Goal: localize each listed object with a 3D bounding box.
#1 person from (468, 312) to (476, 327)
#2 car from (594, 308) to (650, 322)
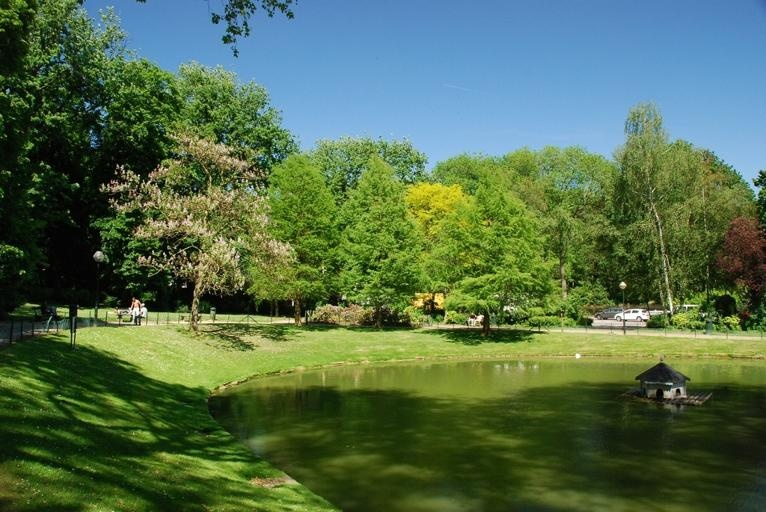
[{"bbox_3d":[10.210,7.293,73.717,0.994,1.219,2.363,1,-8,9],"label":"person"},{"bbox_3d":[31.488,7.733,84.459,4.812,1.363,1.764,2,-2,29],"label":"car"}]
